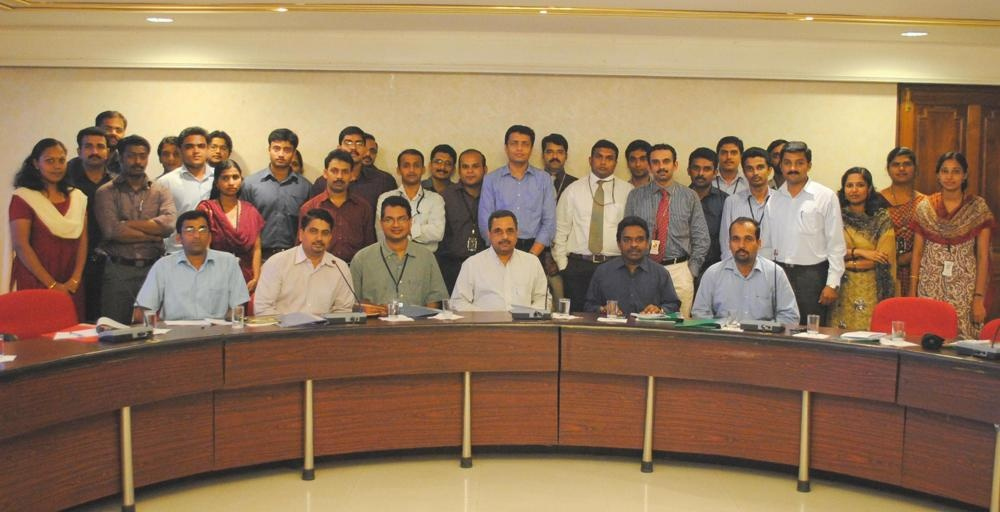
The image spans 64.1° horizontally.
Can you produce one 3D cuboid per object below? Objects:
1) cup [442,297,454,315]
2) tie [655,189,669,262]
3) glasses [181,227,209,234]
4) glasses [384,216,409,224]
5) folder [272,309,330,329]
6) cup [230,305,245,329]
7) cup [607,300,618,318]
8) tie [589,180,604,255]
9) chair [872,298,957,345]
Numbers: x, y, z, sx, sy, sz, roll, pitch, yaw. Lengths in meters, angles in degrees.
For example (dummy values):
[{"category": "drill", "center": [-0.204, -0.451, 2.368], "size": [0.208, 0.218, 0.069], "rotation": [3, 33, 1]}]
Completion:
[{"category": "cup", "center": [-0.558, 0.523, 8.394], "size": [0.150, 0.133, 0.140], "rotation": [0, 3, 0]}, {"category": "tie", "center": [2.011, -0.384, 9.901], "size": [0.166, 0.850, 0.245], "rotation": [0, 6, 10]}, {"category": "glasses", "center": [-3.291, -0.282, 8.648], "size": [0.239, 0.074, 0.067], "rotation": [-2, 5, -18]}, {"category": "glasses", "center": [-1.193, -0.409, 9.158], "size": [0.276, 0.080, 0.060], "rotation": [-1, 5, -3]}, {"category": "folder", "center": [-1.992, 0.639, 8.000], "size": [0.552, 0.108, 0.273], "rotation": [0, 5, 3]}, {"category": "cup", "center": [-2.582, 0.609, 7.891], "size": [0.114, 0.203, 0.183], "rotation": [-2, 6, -17]}, {"category": "cup", "center": [1.182, 0.560, 8.487], "size": [0.116, 0.153, 0.252], "rotation": [0, 5, 6]}, {"category": "tie", "center": [1.191, -0.471, 9.948], "size": [0.180, 0.880, 0.206], "rotation": [0, 6, 6]}, {"category": "chair", "center": [4.301, 0.661, 8.370], "size": [0.641, 0.581, 0.558], "rotation": [1, -6, 15]}]
